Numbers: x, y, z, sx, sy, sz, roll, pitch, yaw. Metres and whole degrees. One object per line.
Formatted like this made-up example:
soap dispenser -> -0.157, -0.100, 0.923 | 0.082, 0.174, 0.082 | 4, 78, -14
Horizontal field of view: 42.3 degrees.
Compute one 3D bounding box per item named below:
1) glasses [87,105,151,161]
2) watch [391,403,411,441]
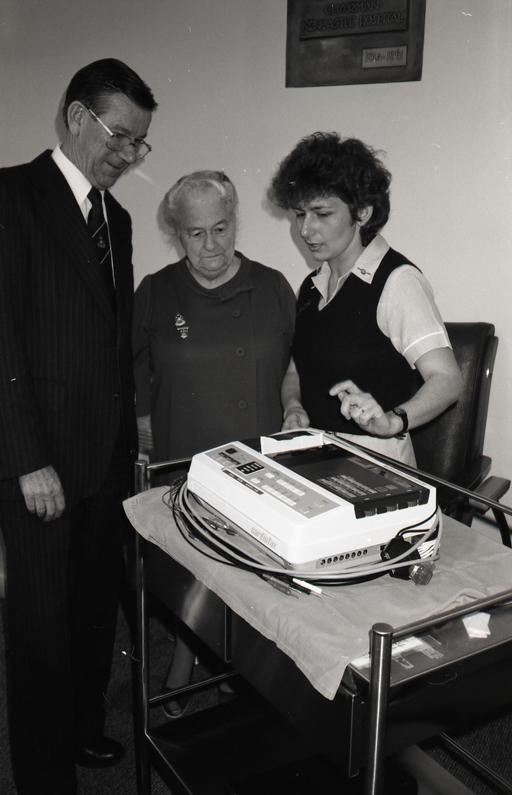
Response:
glasses -> -0.267, -0.513, 1.247 | 0.027, 0.092, 0.085 | -41, -14, 26
watch -> 0.230, 0.044, 1.053 | 0.025, 0.057, 0.068 | -1, 17, 12
